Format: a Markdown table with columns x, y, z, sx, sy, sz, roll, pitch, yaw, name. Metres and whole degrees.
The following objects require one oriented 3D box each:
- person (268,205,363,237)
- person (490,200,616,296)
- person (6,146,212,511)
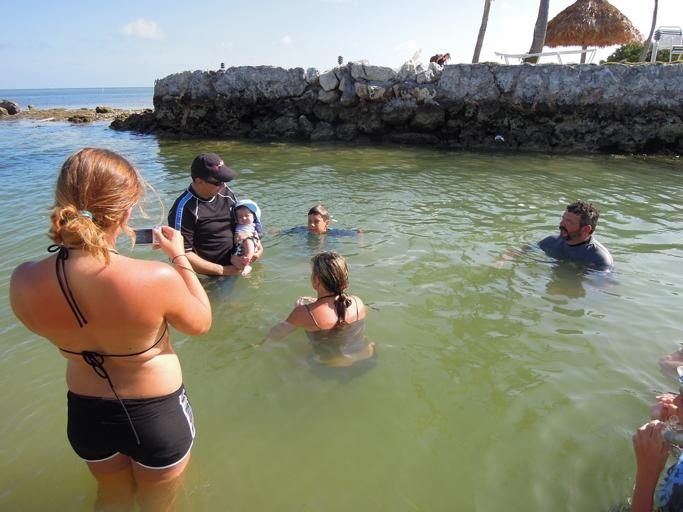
| x | y | z | sx | sy | sz | roll | pitch | yaw | name |
| --- | --- | --- | --- | --- | --- | --- | --- | --- | --- |
| -0.424 | -0.644 | 9.454 | 1.797 | 0.596 | 0.582 | 2 | 2 | 20 | person |
| 4.085 | -0.271 | 8.131 | 1.120 | 1.229 | 1.531 | -7 | 22 | -19 | person |
| -1.796 | 0.723 | 3.773 | 1.082 | 3.067 | 0.805 | 9 | 24 | 19 | person |
